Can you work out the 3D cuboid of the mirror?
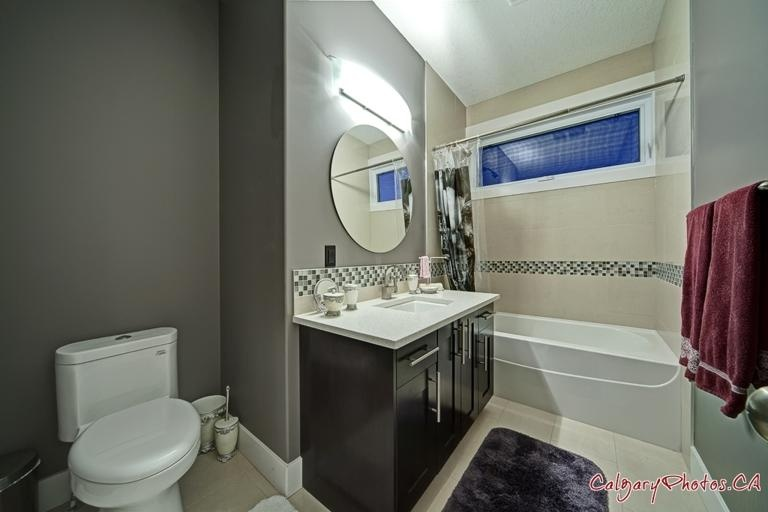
[{"bbox_3d":[-0.116,-0.486,3.981,0.021,1.038,1.013,-32,26,-34],"label":"mirror"}]

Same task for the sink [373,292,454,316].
[{"bbox_3d":[0.215,0.399,3.937,0.618,0.134,0.342,-7,7,-22],"label":"sink"}]

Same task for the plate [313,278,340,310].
[{"bbox_3d":[-0.424,0.274,3.606,0.157,0.112,0.217,8,16,13],"label":"plate"}]

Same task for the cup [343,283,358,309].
[{"bbox_3d":[-0.245,0.297,3.682,0.110,0.182,0.235,-5,6,-4],"label":"cup"}]

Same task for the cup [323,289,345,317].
[{"bbox_3d":[-0.336,0.355,3.518,0.150,0.181,0.158,0,-3,0],"label":"cup"}]

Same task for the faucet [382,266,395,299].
[{"bbox_3d":[0.049,0.215,3.991,0.065,0.249,0.205,0,8,31],"label":"faucet"}]
